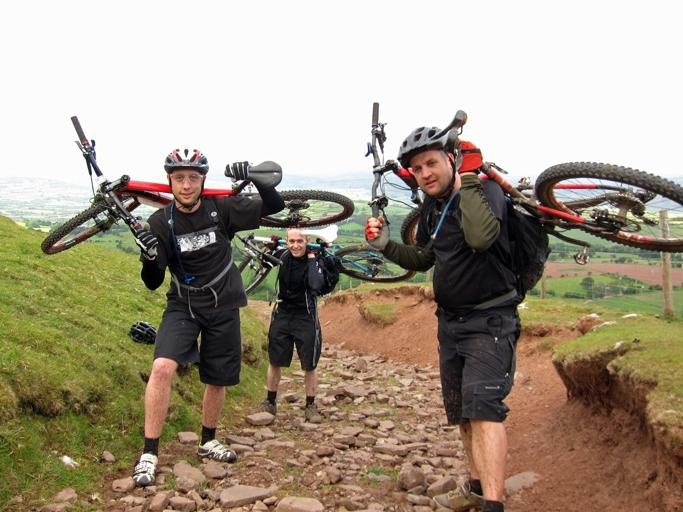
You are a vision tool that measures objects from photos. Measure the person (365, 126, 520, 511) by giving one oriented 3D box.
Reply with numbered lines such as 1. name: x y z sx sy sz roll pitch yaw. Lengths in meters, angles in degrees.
1. person: 1.103 0.704 4.644 1.204 3.757 1.246 4 -3 19

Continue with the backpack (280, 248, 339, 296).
1. backpack: -0.568 0.283 7.836 0.763 0.386 0.876 4 1 23

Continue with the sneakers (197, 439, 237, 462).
1. sneakers: -1.439 2.278 5.569 0.529 0.200 0.185 3 -1 18

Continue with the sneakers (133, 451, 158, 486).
1. sneakers: -2.032 2.196 4.878 0.230 0.247 0.289 5 -3 -18

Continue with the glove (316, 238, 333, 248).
1. glove: -0.314 -0.219 8.053 0.169 0.075 0.216 14 2 -22
